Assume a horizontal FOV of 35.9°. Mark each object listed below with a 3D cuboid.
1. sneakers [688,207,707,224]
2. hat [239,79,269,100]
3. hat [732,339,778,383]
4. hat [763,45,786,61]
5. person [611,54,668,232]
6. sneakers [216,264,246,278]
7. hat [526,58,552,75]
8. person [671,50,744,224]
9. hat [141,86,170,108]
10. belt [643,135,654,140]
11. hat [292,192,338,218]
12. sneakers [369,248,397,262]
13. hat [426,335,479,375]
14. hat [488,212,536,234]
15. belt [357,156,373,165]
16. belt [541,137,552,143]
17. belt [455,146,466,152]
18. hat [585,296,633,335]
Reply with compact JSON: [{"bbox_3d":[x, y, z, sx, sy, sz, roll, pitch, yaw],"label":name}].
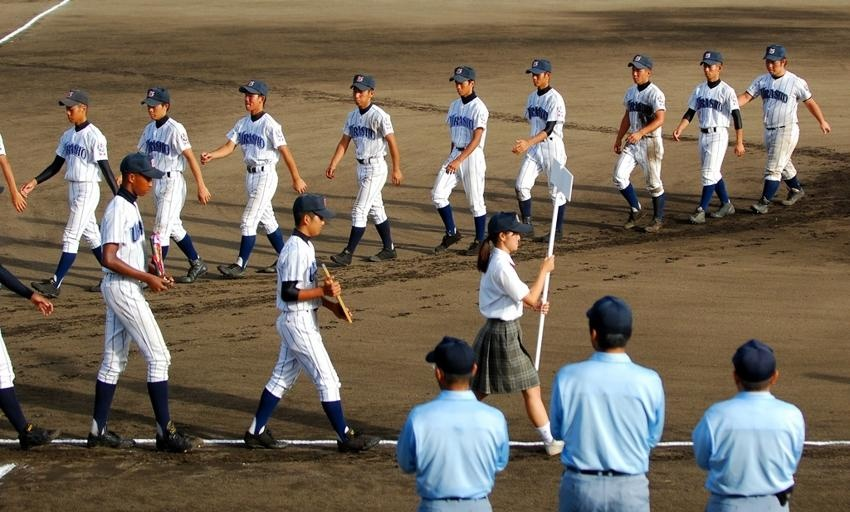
[{"bbox_3d":[5.629,-0.850,26.812,0.235,0.311,0.324,11,13,40],"label":"sneakers"},{"bbox_3d":[-3.292,-3.186,24.992,0.483,0.278,0.307,-1,10,-17],"label":"hat"},{"bbox_3d":[4.622,1.429,18.310,0.624,0.376,0.614,3,50,12],"label":"hat"},{"bbox_3d":[7.252,-4.156,27.022,0.353,0.307,0.363,3,10,5],"label":"hat"},{"bbox_3d":[4.462,-2.309,26.733,1.129,3.510,1.255,4,12,7],"label":"person"},{"bbox_3d":[-3.779,0.266,25.250,0.491,0.188,0.231,3,39,-42],"label":"sneakers"},{"bbox_3d":[2.320,-3.760,26.221,0.382,0.282,0.198,-1,11,-16],"label":"hat"},{"bbox_3d":[5.904,-2.438,26.904,1.112,3.440,1.075,-8,16,-42],"label":"person"},{"bbox_3d":[-5.122,-3.013,24.809,0.417,0.351,0.687,-1,9,-15],"label":"hat"},{"bbox_3d":[4.537,-2.418,26.556,0.235,0.072,0.031,2,11,7],"label":"belt"},{"bbox_3d":[-1.681,-0.804,20.323,0.646,0.226,0.380,-1,6,-34],"label":"hat"},{"bbox_3d":[-0.806,-0.051,25.878,0.735,0.227,0.215,-1,7,-1],"label":"sneakers"},{"bbox_3d":[0.334,1.360,18.418,0.532,0.325,0.677,-14,28,-30],"label":"hat"},{"bbox_3d":[1.335,-0.513,20.109,0.633,0.181,0.365,0,6,-20],"label":"hat"},{"bbox_3d":[-1.174,-1.886,25.639,0.253,0.082,0.275,-1,-2,-4],"label":"belt"},{"bbox_3d":[2.465,-2.328,26.296,0.198,0.101,0.047,1,11,-5],"label":"belt"},{"bbox_3d":[0.713,-2.130,25.864,0.207,0.098,0.162,0,3,1],"label":"belt"},{"bbox_3d":[2.637,0.809,18.538,0.575,0.309,0.627,0,20,-5],"label":"hat"}]
